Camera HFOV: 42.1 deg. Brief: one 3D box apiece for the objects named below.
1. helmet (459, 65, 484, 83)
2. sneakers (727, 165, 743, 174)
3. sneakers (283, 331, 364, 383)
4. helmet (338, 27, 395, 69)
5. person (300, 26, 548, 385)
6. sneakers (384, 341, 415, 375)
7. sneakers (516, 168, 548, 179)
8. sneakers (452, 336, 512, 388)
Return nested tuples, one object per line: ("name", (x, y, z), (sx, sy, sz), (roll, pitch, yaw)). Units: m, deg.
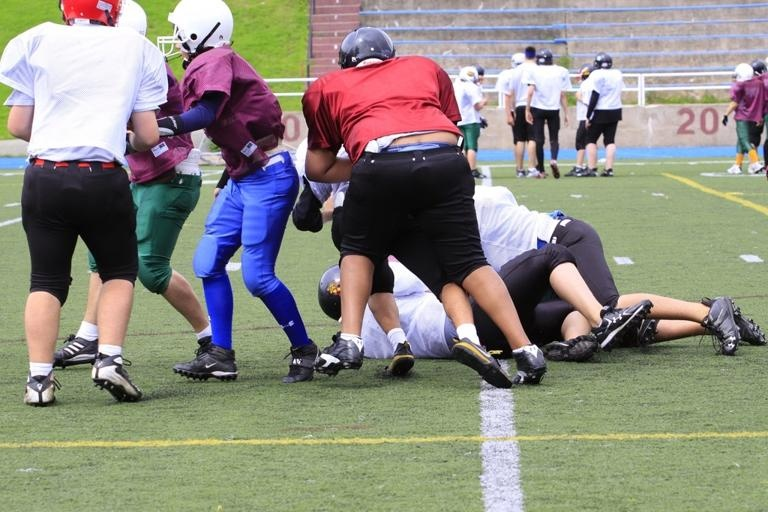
("helmet", (1.443, -3.131, 17.110), (0.361, 0.278, 0.379), (0, -8, -44))
("sneakers", (5.894, -1.452, 16.893), (0.129, 0.132, 0.327), (1, 8, 4))
("sneakers", (-0.416, 0.614, 5.970), (0.670, 0.274, 0.223), (-11, -17, 30))
("helmet", (-0.114, -1.263, 6.148), (0.274, 0.296, 0.256), (-1, -40, 3))
("person", (0.174, -0.210, 5.870), (1.224, 1.883, 0.805), (-3, 13, -4))
("sneakers", (0.091, 0.644, 6.136), (0.106, 0.113, 0.267), (-3, -11, -10))
("sneakers", (2.487, -1.400, 16.877), (0.508, 0.188, 0.172), (2, 12, 9))
("sneakers", (0.568, 0.628, 5.879), (0.109, 0.329, 0.146), (-44, 11, 41))
